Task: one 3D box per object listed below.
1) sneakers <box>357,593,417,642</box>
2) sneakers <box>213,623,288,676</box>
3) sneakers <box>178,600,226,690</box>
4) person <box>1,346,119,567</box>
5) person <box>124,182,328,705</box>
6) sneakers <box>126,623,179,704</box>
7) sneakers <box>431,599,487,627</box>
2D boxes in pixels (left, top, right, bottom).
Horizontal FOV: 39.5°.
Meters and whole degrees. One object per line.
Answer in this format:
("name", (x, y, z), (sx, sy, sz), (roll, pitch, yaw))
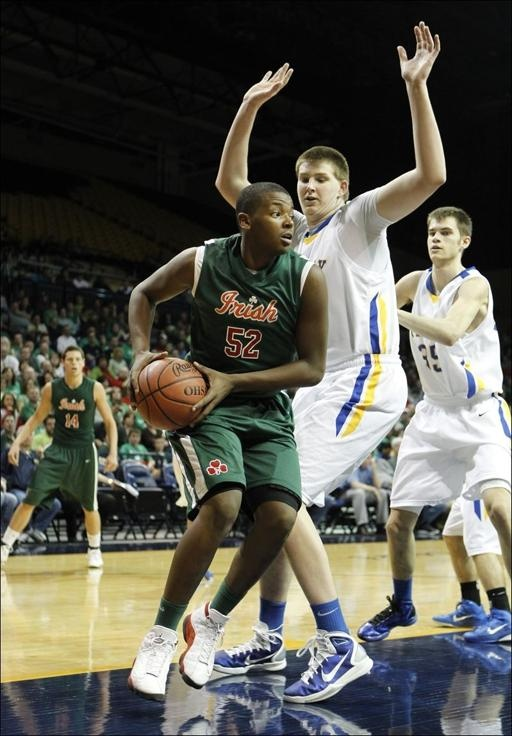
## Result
("sneakers", (0.483, 0.915, 2.646), (0.289, 0.120, 0.099), (-8, 15, -40))
("sneakers", (-0.006, 0.793, 2.007), (0.257, 0.143, 0.096), (4, -10, -12))
("sneakers", (-0.117, 0.614, 1.653), (0.114, 0.074, 0.232), (-42, 21, 10))
("person", (-1.361, 0.581, 4.965), (0.636, 1.494, 1.000), (-2, -2, -3))
("person", (-0.066, 0.122, 1.685), (0.497, 1.135, 0.364), (-2, -2, -11))
("sneakers", (-0.212, 0.608, 1.504), (0.069, 0.083, 0.188), (31, 4, -10))
("sneakers", (0.856, 1.033, 3.022), (0.288, 0.136, 0.091), (0, -9, 4))
